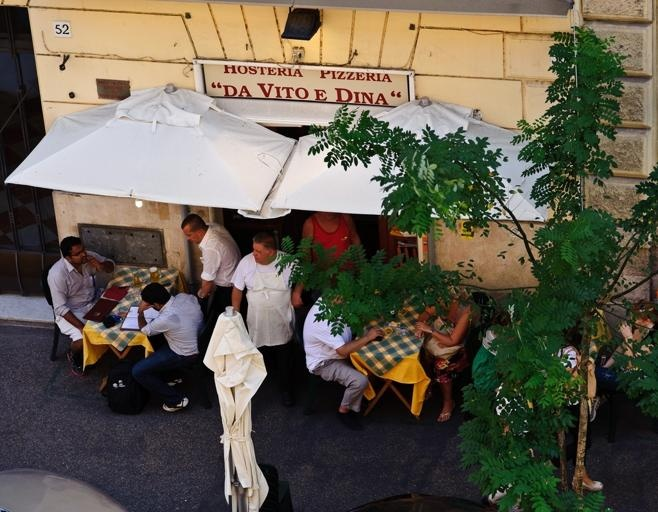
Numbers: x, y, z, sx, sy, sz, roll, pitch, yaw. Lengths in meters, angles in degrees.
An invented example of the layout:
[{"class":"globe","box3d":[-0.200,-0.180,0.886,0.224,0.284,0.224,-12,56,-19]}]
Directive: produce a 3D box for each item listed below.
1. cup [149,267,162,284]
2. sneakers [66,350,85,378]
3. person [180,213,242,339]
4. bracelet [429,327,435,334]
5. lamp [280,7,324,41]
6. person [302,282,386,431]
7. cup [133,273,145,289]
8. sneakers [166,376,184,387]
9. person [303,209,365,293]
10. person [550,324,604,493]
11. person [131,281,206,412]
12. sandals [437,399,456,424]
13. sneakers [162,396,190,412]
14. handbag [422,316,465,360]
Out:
[{"class":"cup","box3d":[-2.155,0.251,8.970,0.135,0.141,0.133,1,43,-1]},{"class":"sneakers","box3d":[-3.000,1.282,8.649,0.154,0.373,0.147,-21,5,-26]},{"class":"person","box3d":[-1.389,0.239,8.331,0.628,1.567,0.685,3,37,8]},{"class":"bracelet","box3d":[1.075,0.790,7.651,0.050,0.067,0.020,5,-31,3]},{"class":"lamp","box3d":[-0.297,-2.566,7.993,0.339,0.179,0.494,5,55,12]},{"class":"person","box3d":[0.062,1.129,7.875,0.840,1.333,1.028,0,8,-21]},{"class":"cup","box3d":[-2.344,0.320,8.920,0.091,0.143,0.091,0,36,0]},{"class":"sneakers","box3d":[-1.777,1.470,8.335,0.096,0.073,0.151,18,27,38]},{"class":"person","box3d":[0.070,-0.136,8.532,0.747,0.941,0.500,-3,-1,-18]},{"class":"person","box3d":[2.437,1.409,6.893,0.516,1.556,0.433,7,-10,3]},{"class":"person","box3d":[-1.774,1.058,7.993,0.828,1.459,0.813,2,30,0]},{"class":"sandals","box3d":[1.263,1.697,7.846,0.103,0.131,0.308,2,17,25]},{"class":"sneakers","box3d":[-1.681,1.654,8.086,0.324,0.148,0.125,-2,30,-5]},{"class":"handbag","box3d":[1.216,0.897,7.702,0.412,0.417,0.322,3,7,6]}]
